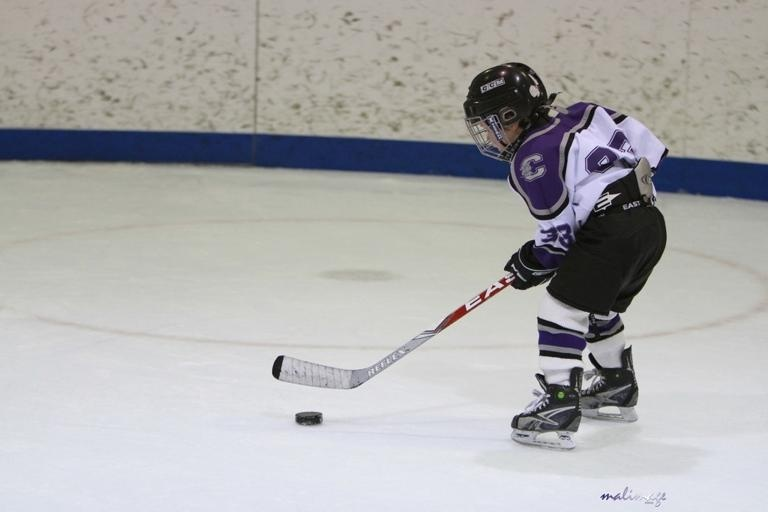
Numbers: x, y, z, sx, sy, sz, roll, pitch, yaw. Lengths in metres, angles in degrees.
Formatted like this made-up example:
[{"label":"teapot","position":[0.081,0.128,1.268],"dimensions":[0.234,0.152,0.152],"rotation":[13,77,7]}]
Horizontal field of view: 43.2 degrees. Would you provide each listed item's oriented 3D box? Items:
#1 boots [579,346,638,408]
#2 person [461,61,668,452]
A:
[{"label":"boots","position":[0.846,0.483,3.694],"dimensions":[0.309,0.223,0.105],"rotation":[-7,-8,42]},{"label":"person","position":[0.633,-0.020,3.515],"dimensions":[0.733,1.306,0.587],"rotation":[6,16,13]}]
